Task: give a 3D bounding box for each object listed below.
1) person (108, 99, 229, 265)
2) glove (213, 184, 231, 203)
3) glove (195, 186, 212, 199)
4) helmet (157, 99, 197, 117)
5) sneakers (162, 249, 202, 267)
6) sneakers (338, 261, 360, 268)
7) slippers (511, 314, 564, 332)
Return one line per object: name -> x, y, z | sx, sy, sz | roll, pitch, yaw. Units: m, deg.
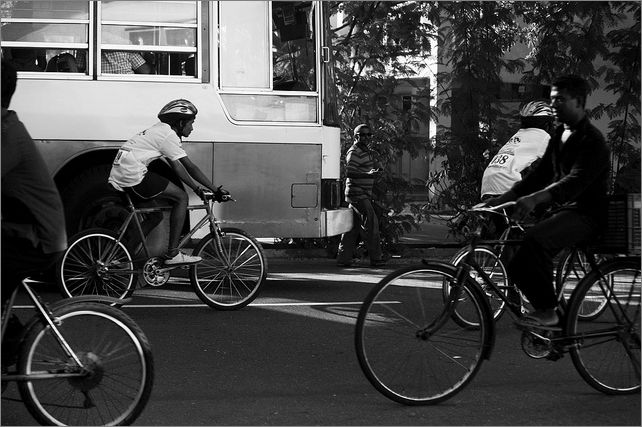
person -> -1.904, -0.375, 8.888 | 1.205, 1.946, 0.529 | -1, 9, -15
glove -> -1.200, -0.217, 8.985 | 0.076, 0.166, 0.191 | 14, -6, -40
glove -> -1.414, -0.243, 9.119 | 0.154, 0.082, 0.214 | 1, -16, 45
helmet -> -1.703, -1.244, 8.992 | 0.339, 0.123, 0.239 | 1, 1, -5
sneakers -> -1.645, 0.534, 8.936 | 0.468, 0.181, 0.149 | -3, 2, -6
sneakers -> 0.456, 0.820, 12.279 | 0.383, 0.146, 0.124 | -2, 8, -1
slippers -> 1.882, 0.913, 6.351 | 0.325, 0.095, 0.172 | 5, -6, -4
